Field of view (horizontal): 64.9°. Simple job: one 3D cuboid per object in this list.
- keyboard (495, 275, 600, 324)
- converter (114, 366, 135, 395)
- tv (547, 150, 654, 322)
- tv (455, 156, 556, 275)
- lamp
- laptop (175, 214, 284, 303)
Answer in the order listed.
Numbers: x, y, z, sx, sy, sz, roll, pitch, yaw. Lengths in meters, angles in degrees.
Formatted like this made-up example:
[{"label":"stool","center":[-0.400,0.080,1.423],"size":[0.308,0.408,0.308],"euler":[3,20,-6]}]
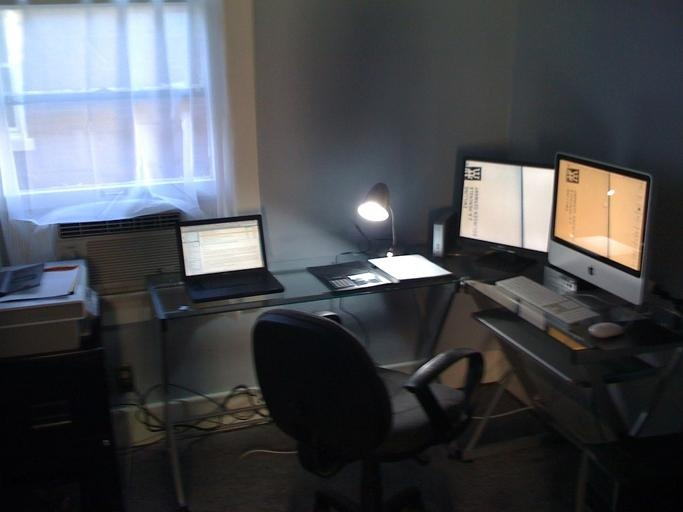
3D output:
[{"label":"keyboard","center":[0.861,0.160,2.280],"size":[0.151,0.029,0.291],"euler":[-15,27,-31]},{"label":"converter","center":[-1.112,0.627,2.737],"size":[0.097,0.174,0.093],"euler":[-4,22,-15]},{"label":"tv","center":[1.168,-0.129,2.294],"size":[0.217,0.619,0.620],"euler":[-7,15,-9]},{"label":"tv","center":[0.833,-0.201,2.705],"size":[0.518,0.533,0.176],"euler":[13,24,37]},{"label":"lamp","center":[0.181,-0.204,2.846],"size":[0.206,0.382,0.345],"euler":[-3,14,6]},{"label":"laptop","center":[-0.513,-0.010,2.451],"size":[0.436,0.304,0.375],"euler":[-5,9,-19]}]
